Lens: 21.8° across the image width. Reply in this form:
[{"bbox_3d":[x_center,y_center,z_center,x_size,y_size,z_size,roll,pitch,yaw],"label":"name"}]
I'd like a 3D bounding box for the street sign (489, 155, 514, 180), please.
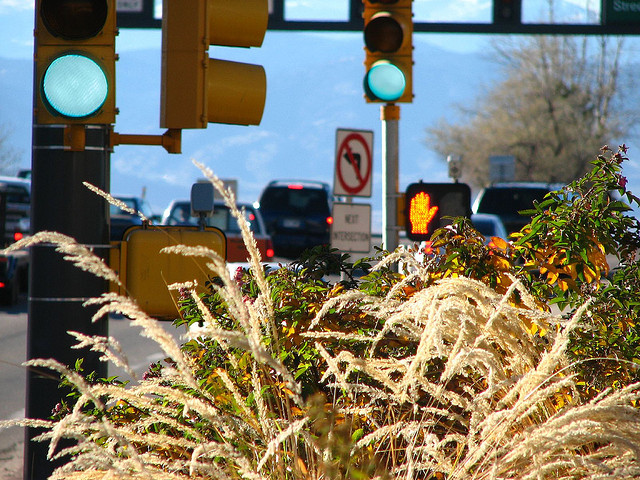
[{"bbox_3d":[4.597,-1.827,41.882,0.265,0.527,0.556,3,7,36],"label":"street sign"}]

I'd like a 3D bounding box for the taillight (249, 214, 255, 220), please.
[{"bbox_3d":[-1.093,-0.375,27.980,0.082,0.090,0.019,-2,-4,45],"label":"taillight"}]

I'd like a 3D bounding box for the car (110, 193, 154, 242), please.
[{"bbox_3d":[-2.572,-0.304,22.816,0.741,0.664,1.692,1,6,-1],"label":"car"}]

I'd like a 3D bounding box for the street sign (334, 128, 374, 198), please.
[{"bbox_3d":[0.387,-0.840,18.223,0.422,0.785,0.047,4,15,8],"label":"street sign"}]

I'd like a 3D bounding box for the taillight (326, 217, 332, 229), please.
[{"bbox_3d":[0.253,-0.346,33.258,0.092,0.187,0.178,1,-22,10],"label":"taillight"}]

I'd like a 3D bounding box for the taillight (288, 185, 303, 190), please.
[{"bbox_3d":[-0.477,-1.106,35.163,0.302,0.096,0.125,0,1,-1],"label":"taillight"}]

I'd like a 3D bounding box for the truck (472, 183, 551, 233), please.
[{"bbox_3d":[3.524,-0.786,30.963,1.116,1.128,1.977,-1,-2,7],"label":"truck"}]

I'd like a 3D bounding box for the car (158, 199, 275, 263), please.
[{"bbox_3d":[-1.448,-0.425,27.133,1.056,1.106,1.939,0,11,-14],"label":"car"}]

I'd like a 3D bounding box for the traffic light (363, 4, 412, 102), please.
[{"bbox_3d":[0.714,-1.912,17.004,0.481,0.991,0.256,0,1,3],"label":"traffic light"}]

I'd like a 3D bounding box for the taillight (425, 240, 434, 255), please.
[{"bbox_3d":[0.982,0.080,14.717,0.094,0.113,0.036,3,15,34],"label":"taillight"}]
